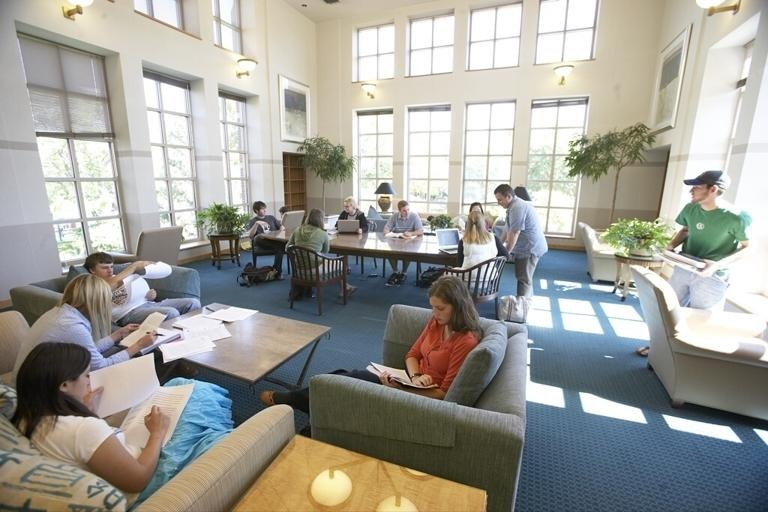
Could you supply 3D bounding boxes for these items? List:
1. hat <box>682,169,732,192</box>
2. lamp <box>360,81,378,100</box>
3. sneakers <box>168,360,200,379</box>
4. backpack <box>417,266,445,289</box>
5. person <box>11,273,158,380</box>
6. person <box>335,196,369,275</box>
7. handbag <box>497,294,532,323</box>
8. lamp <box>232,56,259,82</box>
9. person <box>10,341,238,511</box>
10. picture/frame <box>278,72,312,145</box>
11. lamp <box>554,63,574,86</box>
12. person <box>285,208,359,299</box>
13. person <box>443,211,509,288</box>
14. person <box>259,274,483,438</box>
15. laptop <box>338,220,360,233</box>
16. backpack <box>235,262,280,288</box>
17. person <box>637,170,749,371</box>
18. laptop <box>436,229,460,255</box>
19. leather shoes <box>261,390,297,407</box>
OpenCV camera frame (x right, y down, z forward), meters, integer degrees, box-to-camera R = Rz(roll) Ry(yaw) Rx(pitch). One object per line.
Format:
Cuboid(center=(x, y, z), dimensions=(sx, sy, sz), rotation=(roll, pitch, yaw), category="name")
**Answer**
Cuboid(center=(3.380, -0.817, 4.932), dimensions=(0.412, 0.218, 0.264), rotation=(19, 23, 37), category="hat")
Cuboid(center=(-0.336, -3.822, 10.908), dimensions=(0.371, 0.301, 0.390), rotation=(2, 9, 13), category="lamp")
Cuboid(center=(-2.027, 1.101, 4.787), dimensions=(0.298, 0.135, 0.332), rotation=(8, -11, -24), category="sneakers")
Cuboid(center=(0.751, 0.321, 7.397), dimensions=(0.381, 0.135, 0.292), rotation=(-24, 15, -38), category="backpack")
Cuboid(center=(-2.774, 0.676, 4.366), dimensions=(0.549, 1.301, 0.952), rotation=(21, 17, 28), category="person")
Cuboid(center=(-0.609, -0.640, 8.339), dimensions=(0.635, 0.758, 0.479), rotation=(-2, 17, 6), category="person")
Cuboid(center=(1.704, 0.668, 6.107), dimensions=(0.384, 0.263, 0.389), rotation=(1, 4, 23), category="handbag")
Cuboid(center=(-2.676, -3.665, 9.200), dimensions=(0.400, 0.371, 0.473), rotation=(-9, 14, -40), category="lamp")
Cuboid(center=(-1.996, 1.250, 4.064), dimensions=(1.156, 1.092, 1.539), rotation=(18, 21, 30), category="person")
Cuboid(center=(-2.039, -3.334, 10.805), dimensions=(0.120, 1.377, 1.167), rotation=(4, 14, 22), category="picture/frame")
Cuboid(center=(3.594, -3.606, 9.336), dimensions=(0.350, 0.351, 0.441), rotation=(3, 13, 20), category="lamp")
Cuboid(center=(-0.924, -0.048, 6.666), dimensions=(0.808, 1.248, 0.863), rotation=(7, 6, 21), category="person")
Cuboid(center=(1.179, -0.064, 5.951), dimensions=(0.661, 1.050, 0.807), rotation=(-20, 21, -33), category="person")
Cuboid(center=(-0.129, 0.920, 4.250), dimensions=(1.927, 1.119, 1.028), rotation=(-2, 16, -19), category="person")
Cuboid(center=(-0.568, -0.479, 7.679), dimensions=(0.326, 0.218, 0.214), rotation=(3, 15, 9), category="laptop")
Cuboid(center=(-1.989, 0.307, 7.564), dimensions=(0.520, 0.236, 0.378), rotation=(-7, 8, -43), category="backpack")
Cuboid(center=(3.530, 0.055, 5.328), dimensions=(0.700, 2.110, 0.773), rotation=(-18, 32, -12), category="person")
Cuboid(center=(0.912, -0.206, 6.485), dimensions=(0.380, 0.226, 0.332), rotation=(-4, 9, -28), category="laptop")
Cuboid(center=(-1.027, 1.391, 4.579), dimensions=(0.115, 0.144, 0.429), rotation=(8, -14, -43), category="leather shoes")
